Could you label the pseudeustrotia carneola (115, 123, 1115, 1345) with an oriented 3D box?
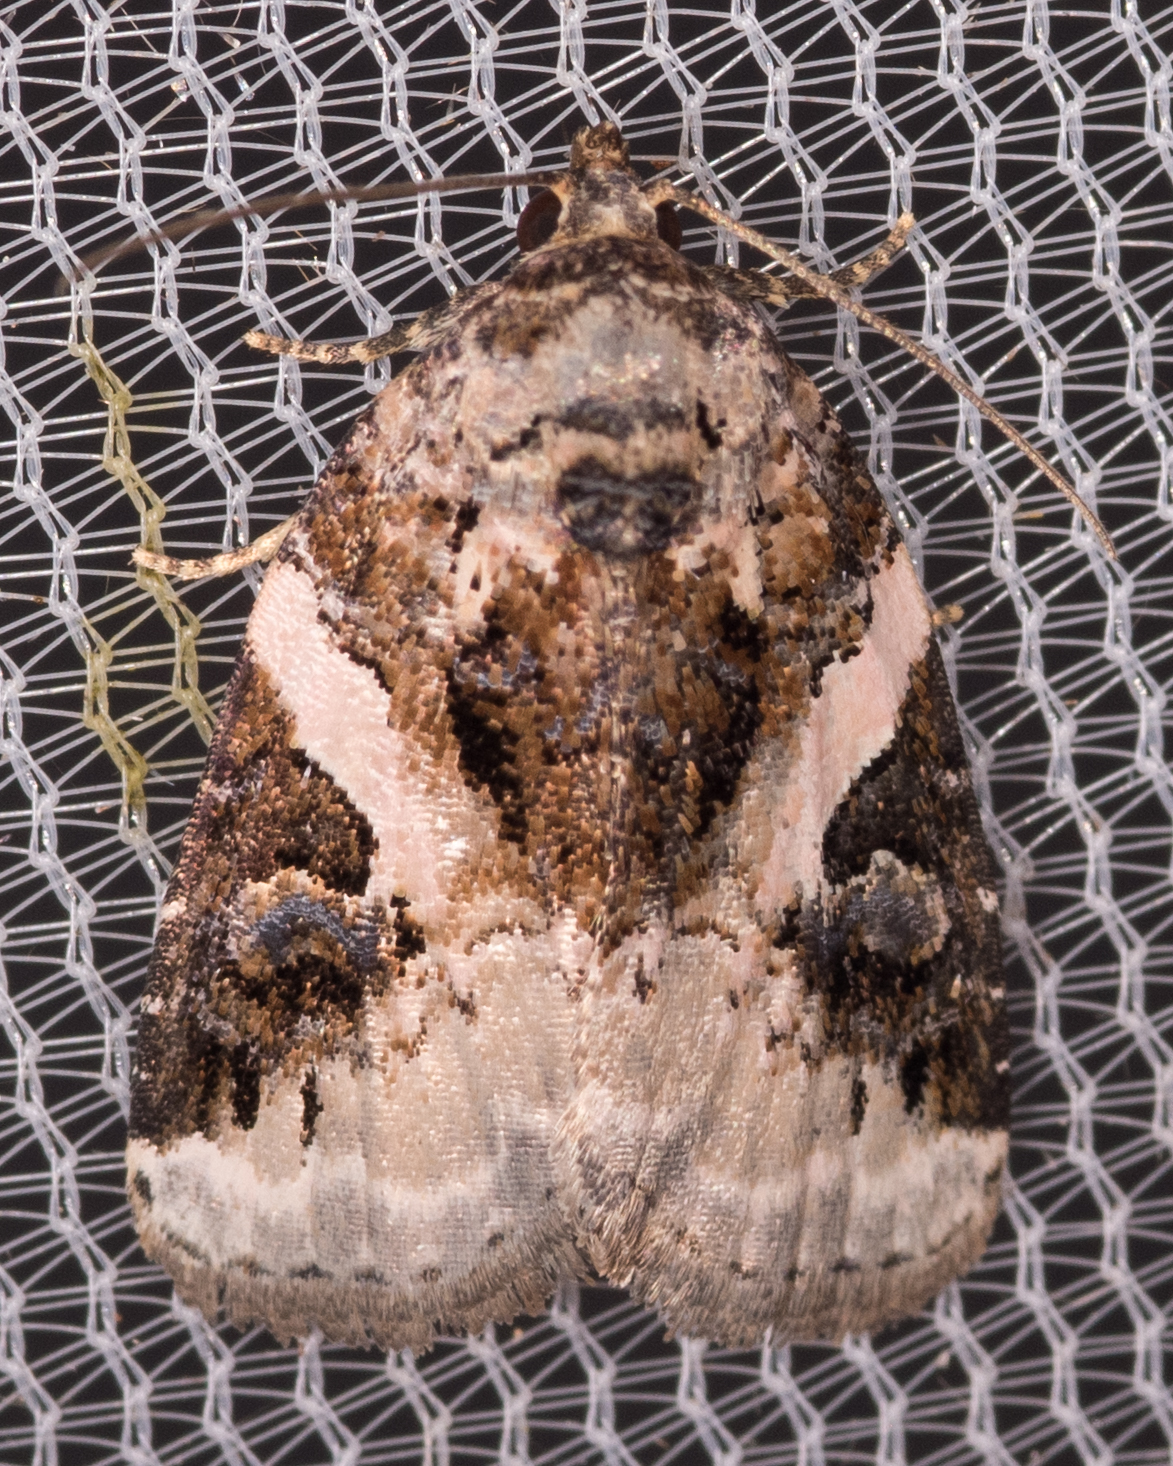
[{"bbox_3d":[-0.025,0.081,3.663,0.982,0.211,1.188,0,85,1],"label":"pseudeustrotia carneola"}]
